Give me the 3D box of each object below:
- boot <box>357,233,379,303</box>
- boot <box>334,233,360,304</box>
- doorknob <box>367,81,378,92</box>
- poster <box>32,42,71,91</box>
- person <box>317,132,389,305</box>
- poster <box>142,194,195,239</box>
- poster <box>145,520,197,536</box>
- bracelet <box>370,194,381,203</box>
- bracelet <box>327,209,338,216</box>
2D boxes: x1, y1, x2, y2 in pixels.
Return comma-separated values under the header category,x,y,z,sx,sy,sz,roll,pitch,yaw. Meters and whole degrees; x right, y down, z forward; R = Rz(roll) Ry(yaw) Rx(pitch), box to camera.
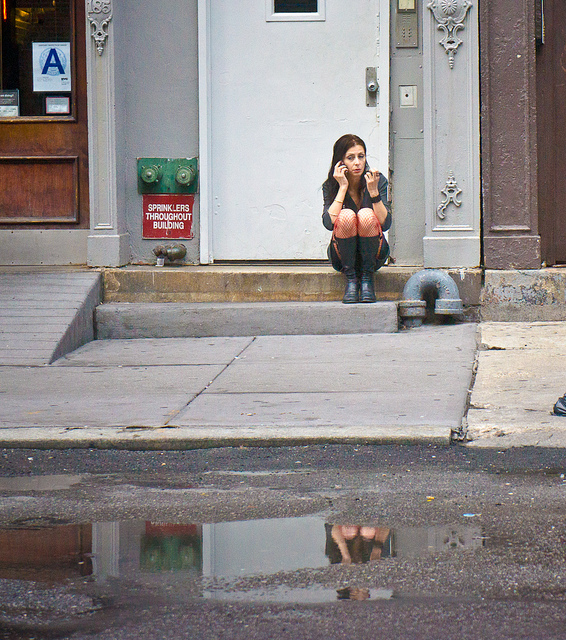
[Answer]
category,x,y,z,sx,sy,sz,roll,pitch,yaw
boot,0.584,-0.371,9.962,0.146,0.499,0.258,-1,11,4
boot,0.437,-0.361,9.967,0.164,0.488,0.241,-1,11,4
doorknob,0.656,-1.728,10.673,0.080,0.084,0.036,-2,11,1
poster,-1.747,-1.919,10.792,0.300,0.397,0.036,0,0,4
person,0.496,-0.687,9.962,0.457,1.146,0.463,-1,11,4
poster,-0.879,-0.799,10.880,0.275,0.277,0.032,0,4,1
poster,-0.477,0.873,6.031,0.224,0.017,0.125,-2,14,2
bracelet,0.621,-0.828,9.832,0.076,0.054,0.088,1,14,15
bracelet,0.324,-0.734,9.843,0.039,0.033,0.108,-9,15,-28
